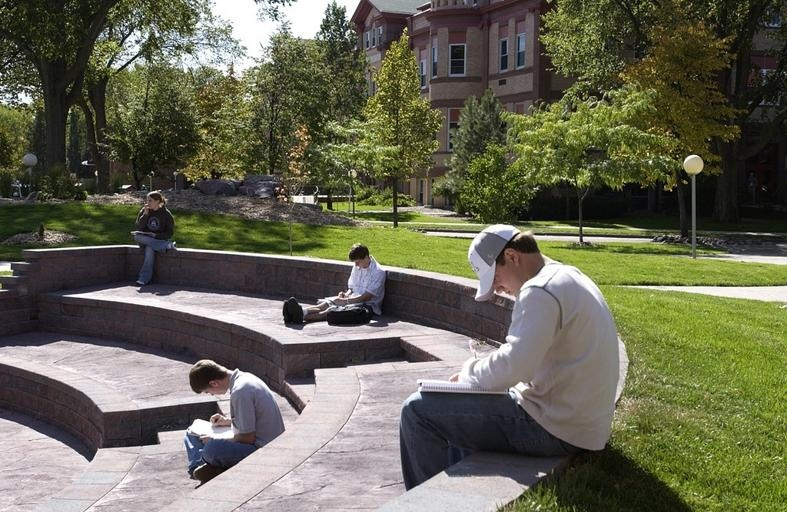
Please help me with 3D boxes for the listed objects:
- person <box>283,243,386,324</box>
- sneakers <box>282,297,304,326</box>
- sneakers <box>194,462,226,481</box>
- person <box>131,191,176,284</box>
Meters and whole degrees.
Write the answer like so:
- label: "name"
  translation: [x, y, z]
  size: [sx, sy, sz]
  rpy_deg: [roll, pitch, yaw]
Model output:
- label: "person"
  translation: [-1.051, 0.515, 13.052]
  size: [1.998, 1.464, 0.948]
  rpy_deg: [-2, 7, -35]
- label: "sneakers"
  translation: [-1.793, 1.006, 12.866]
  size: [0.215, 0.664, 0.267]
  rpy_deg: [-3, 4, 6]
- label: "sneakers"
  translation: [-2.391, 2.770, 9.175]
  size: [0.327, 0.127, 0.278]
  rpy_deg: [-6, 1, -24]
- label: "person"
  translation: [-5.644, -0.419, 16.722]
  size: [0.878, 2.172, 0.759]
  rpy_deg: [0, 6, -22]
